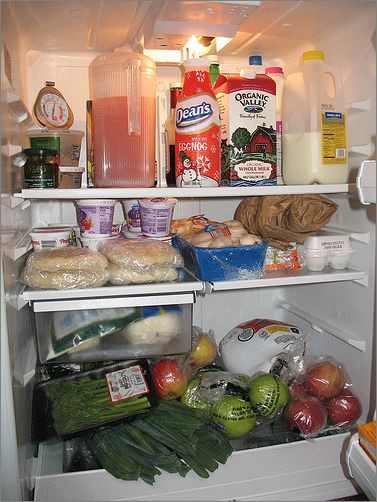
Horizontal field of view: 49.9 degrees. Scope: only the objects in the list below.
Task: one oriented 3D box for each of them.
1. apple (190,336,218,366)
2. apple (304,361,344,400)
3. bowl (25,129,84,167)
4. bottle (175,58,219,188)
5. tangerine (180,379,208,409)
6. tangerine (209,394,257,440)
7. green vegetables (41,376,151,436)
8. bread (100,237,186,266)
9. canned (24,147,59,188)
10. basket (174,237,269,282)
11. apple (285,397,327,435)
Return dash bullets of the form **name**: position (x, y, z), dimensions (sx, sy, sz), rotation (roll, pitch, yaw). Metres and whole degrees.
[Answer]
- **apple**: position (0.042, 0.298, 1.183), dimensions (0.081, 0.092, 0.083), rotation (-6, -2, -5)
- **apple**: position (0.349, 0.334, 1.029), dimensions (0.087, 0.099, 0.085), rotation (7, 40, 4)
- **bowl**: position (-0.317, -0.244, 0.972), dimensions (0.140, 0.083, 0.138), rotation (-2, 10, 0)
- **bottle**: position (0.016, -0.285, 0.909), dimensions (0.107, 0.281, 0.040), rotation (-4, 8, 1)
- **tangerine**: position (0.012, 0.381, 1.079), dimensions (0.061, 0.073, 0.059), rotation (-25, -44, 37)
- **tangerine**: position (0.118, 0.415, 1.012), dimensions (0.108, 0.102, 0.104), rotation (-2, -16, -1)
- **green vegetables**: position (-0.219, 0.360, 0.986), dimensions (0.227, 0.071, 0.132), rotation (-8, 10, -23)
- **bread**: position (-0.110, 0.012, 0.911), dimensions (0.192, 0.070, 0.114), rotation (-5, 9, -3)
- **canned**: position (-0.324, -0.175, 0.868), dimensions (0.081, 0.088, 0.082), rotation (4, 7, 36)
- **basket**: position (0.087, 0.027, 0.944), dimensions (0.194, 0.089, 0.106), rotation (-3, 9, 10)
- **apple**: position (0.291, 0.408, 0.995), dimensions (0.086, 0.072, 0.082), rotation (-6, 9, -13)
